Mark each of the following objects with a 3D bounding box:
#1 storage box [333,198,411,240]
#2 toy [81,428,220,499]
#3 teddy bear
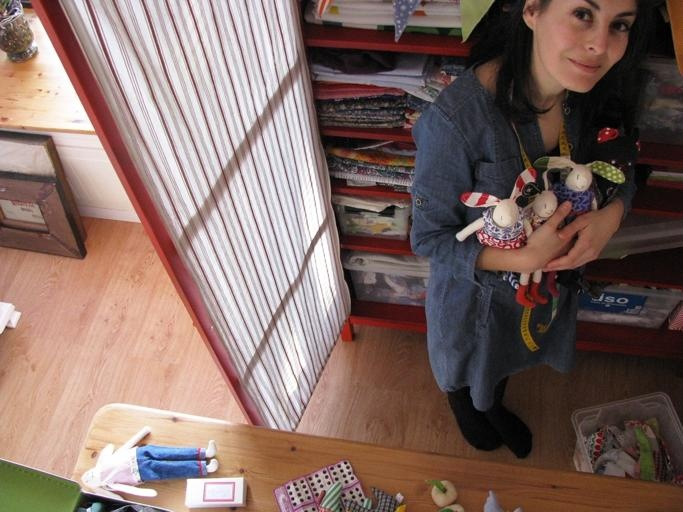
[{"bbox_3d":[0.124,-0.152,2.143,0.251,0.156,0.170,5,64,2],"label":"storage box"},{"bbox_3d":[-0.515,0.555,1.423,0.298,0.070,0.164,-6,44,-4],"label":"toy"},{"bbox_3d":[0.520,-0.076,1.402,0.485,0.417,0.141,-21,52,4],"label":"teddy bear"}]
